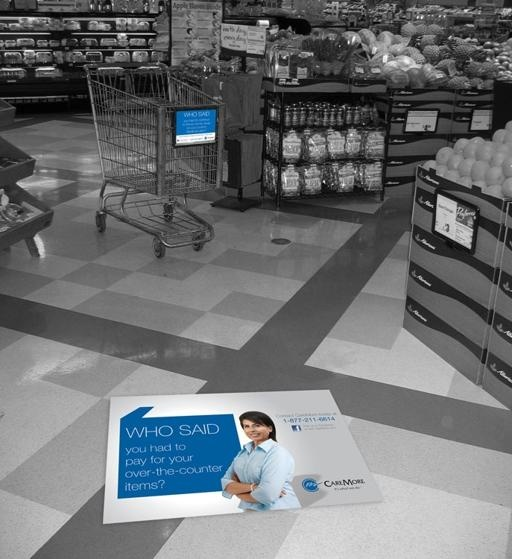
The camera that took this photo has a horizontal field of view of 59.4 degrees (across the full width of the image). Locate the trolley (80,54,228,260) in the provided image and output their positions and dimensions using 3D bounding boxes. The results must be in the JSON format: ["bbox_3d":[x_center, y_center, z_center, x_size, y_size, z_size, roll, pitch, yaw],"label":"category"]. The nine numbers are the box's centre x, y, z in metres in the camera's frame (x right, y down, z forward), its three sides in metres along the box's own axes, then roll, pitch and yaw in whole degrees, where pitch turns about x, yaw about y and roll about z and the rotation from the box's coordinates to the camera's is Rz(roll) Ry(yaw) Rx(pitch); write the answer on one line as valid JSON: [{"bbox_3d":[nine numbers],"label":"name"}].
[{"bbox_3d":[-0.880,-1.034,3.882,0.754,1.351,1.269,-11,26,-37],"label":"trolley"}]
